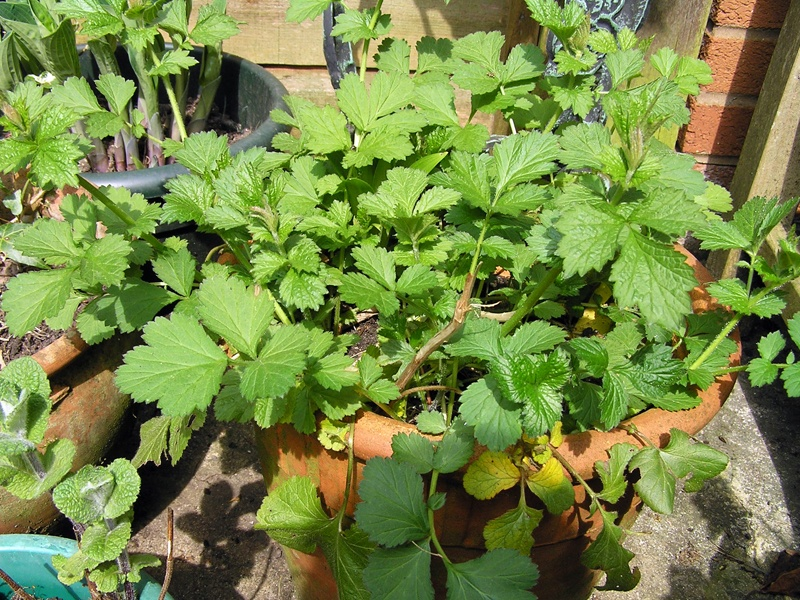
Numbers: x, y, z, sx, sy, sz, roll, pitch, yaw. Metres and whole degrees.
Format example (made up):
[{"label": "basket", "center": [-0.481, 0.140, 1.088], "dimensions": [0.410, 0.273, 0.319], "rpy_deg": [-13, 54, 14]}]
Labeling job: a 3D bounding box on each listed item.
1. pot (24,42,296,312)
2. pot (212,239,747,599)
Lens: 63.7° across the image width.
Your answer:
[{"label": "pot", "center": [-0.736, -0.689, 2.490], "dimensions": [1.003, 0.360, 1.070], "rpy_deg": [2, 56, -3]}, {"label": "pot", "center": [0.143, 0.090, 1.754], "dimensions": [1.048, 0.787, 1.047], "rpy_deg": [0, 37, 0]}]
